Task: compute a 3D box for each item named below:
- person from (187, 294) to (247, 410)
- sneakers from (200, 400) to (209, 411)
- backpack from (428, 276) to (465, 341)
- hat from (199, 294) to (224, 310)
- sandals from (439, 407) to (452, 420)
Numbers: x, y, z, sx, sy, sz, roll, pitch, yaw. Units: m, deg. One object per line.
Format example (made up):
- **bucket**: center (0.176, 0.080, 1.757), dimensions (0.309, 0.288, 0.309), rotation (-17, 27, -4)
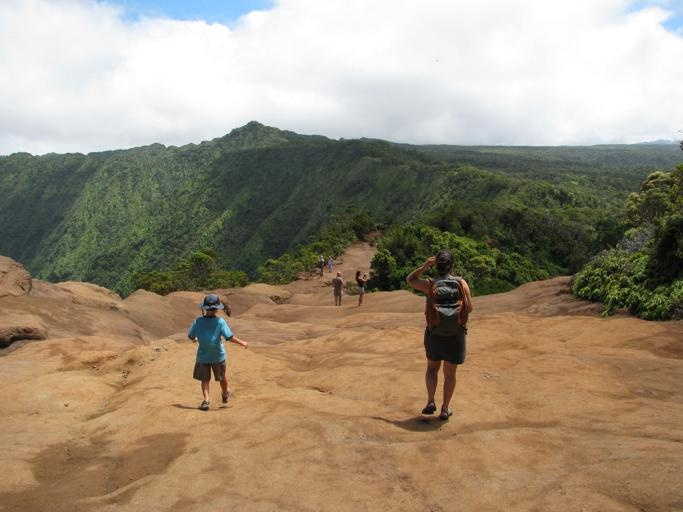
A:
- **person**: center (-1.842, 1.356, 7.245), dimensions (0.606, 1.667, 0.834), rotation (-3, 7, -18)
- **sneakers**: center (-1.903, 2.064, 7.011), dimensions (0.118, 0.127, 0.283), rotation (-3, 6, -17)
- **backpack**: center (1.330, 0.653, 6.447), dimensions (0.516, 0.770, 0.220), rotation (1, 7, 11)
- **hat**: center (-1.846, 0.672, 7.165), dimensions (0.272, 0.290, 0.390), rotation (-3, 7, -16)
- **sandals**: center (1.367, 2.108, 6.718), dimensions (0.083, 0.107, 0.244), rotation (1, 6, 20)
